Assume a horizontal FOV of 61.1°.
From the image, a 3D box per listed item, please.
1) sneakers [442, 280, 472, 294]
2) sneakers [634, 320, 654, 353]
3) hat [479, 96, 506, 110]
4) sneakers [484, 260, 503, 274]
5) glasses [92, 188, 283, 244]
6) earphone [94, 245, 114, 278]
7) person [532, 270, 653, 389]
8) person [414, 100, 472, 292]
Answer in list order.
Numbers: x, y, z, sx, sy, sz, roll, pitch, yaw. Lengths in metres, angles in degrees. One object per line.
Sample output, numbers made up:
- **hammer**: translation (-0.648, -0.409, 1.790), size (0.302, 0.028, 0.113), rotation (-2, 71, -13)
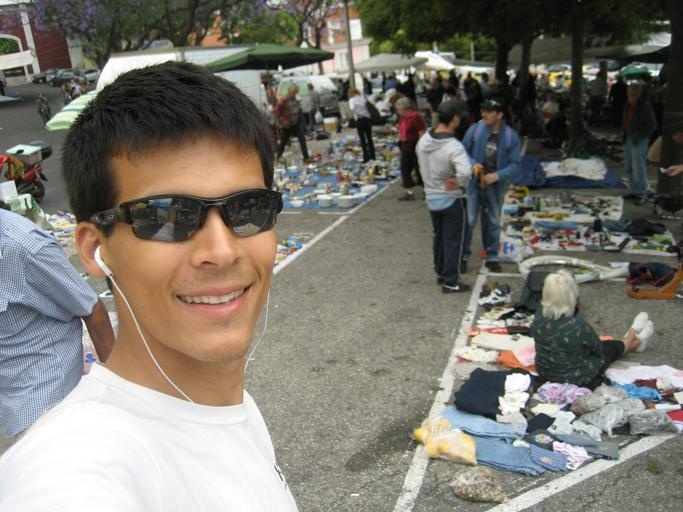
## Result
- **sneakers**: translation (1.534, 0.409, 7.780), size (0.380, 0.151, 0.144), rotation (-4, 46, -13)
- **sneakers**: translation (3.120, 0.828, 5.974), size (0.146, 0.303, 0.113), rotation (-5, 32, -41)
- **hat**: translation (2.093, -2.052, 7.911), size (0.319, 0.166, 0.220), rotation (10, 22, -10)
- **sneakers**: translation (2.223, 0.147, 8.397), size (0.258, 0.102, 0.117), rotation (26, 24, 14)
- **glasses**: translation (-0.399, -0.096, 1.447), size (0.411, 0.128, 0.157), rotation (-10, 20, -21)
- **earphone**: translation (-0.613, 0.013, 1.467), size (0.020, 0.074, 0.057), rotation (-14, 12, 40)
- **person**: translation (2.342, 0.528, 5.886), size (1.453, 1.050, 0.775), rotation (-23, 28, -31)
- **person**: translation (1.358, -0.776, 7.685), size (0.683, 2.439, 0.893), rotation (0, 20, 9)
